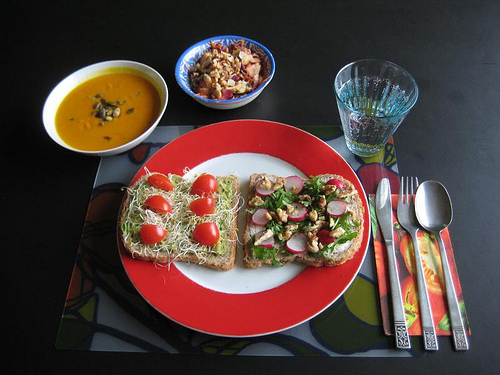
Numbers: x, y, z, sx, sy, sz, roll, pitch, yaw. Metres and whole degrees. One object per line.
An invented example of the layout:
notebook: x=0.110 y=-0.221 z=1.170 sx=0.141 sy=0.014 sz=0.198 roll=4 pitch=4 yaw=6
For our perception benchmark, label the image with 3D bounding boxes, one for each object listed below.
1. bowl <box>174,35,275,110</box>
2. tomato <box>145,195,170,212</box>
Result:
bowl: x=-0.221 y=-1.053 z=3.582 sx=0.885 sy=0.638 sz=0.640 roll=8 pitch=21 yaw=1
tomato: x=-0.709 y=0.135 z=3.009 sx=0.138 sy=0.090 sz=0.145 roll=24 pitch=0 yaw=-13
